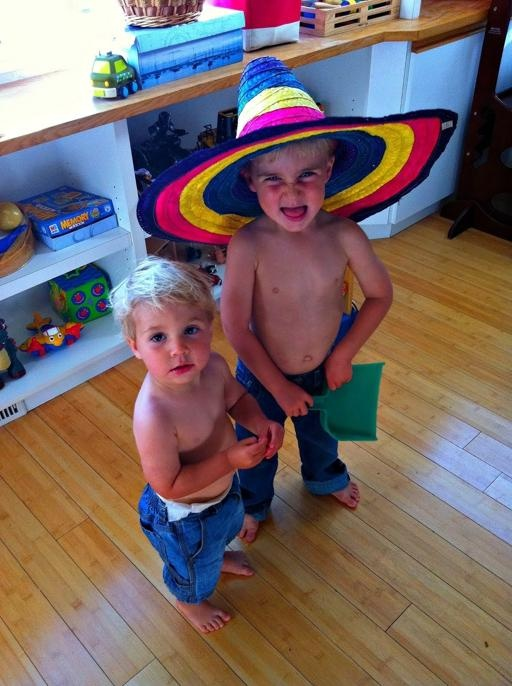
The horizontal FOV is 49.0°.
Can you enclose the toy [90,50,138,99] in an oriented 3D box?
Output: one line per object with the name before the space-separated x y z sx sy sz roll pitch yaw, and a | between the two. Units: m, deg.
toy | -0.331 -0.624 1.313 0.093 0.086 0.091 34 59 25
